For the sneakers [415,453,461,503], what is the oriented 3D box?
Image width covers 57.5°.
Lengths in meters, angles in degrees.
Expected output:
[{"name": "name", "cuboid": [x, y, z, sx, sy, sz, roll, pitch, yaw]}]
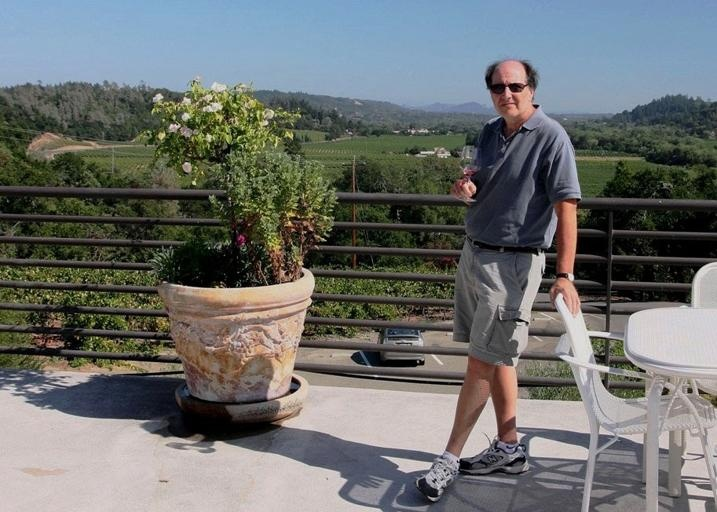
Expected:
[{"name": "sneakers", "cuboid": [0.404, 1.098, 3.304, 0.143, 0.137, 0.363, 20, 18, 28]}]

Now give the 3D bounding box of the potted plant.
[{"name": "potted plant", "cuboid": [-0.731, -0.051, 3.933, 0.982, 2.011, 0.931, -8, 12, -35]}]

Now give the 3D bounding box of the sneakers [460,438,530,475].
[{"name": "sneakers", "cuboid": [0.703, 1.073, 3.513, 0.451, 0.211, 0.148, 0, 1, 3]}]

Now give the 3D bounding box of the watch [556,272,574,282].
[{"name": "watch", "cuboid": [0.983, 0.111, 3.122, 0.053, 0.052, 0.057, -5, -6, 32]}]

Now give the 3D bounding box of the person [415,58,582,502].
[{"name": "person", "cuboid": [0.722, 0.104, 3.286, 0.719, 2.148, 0.690, 1, 10, 15]}]
